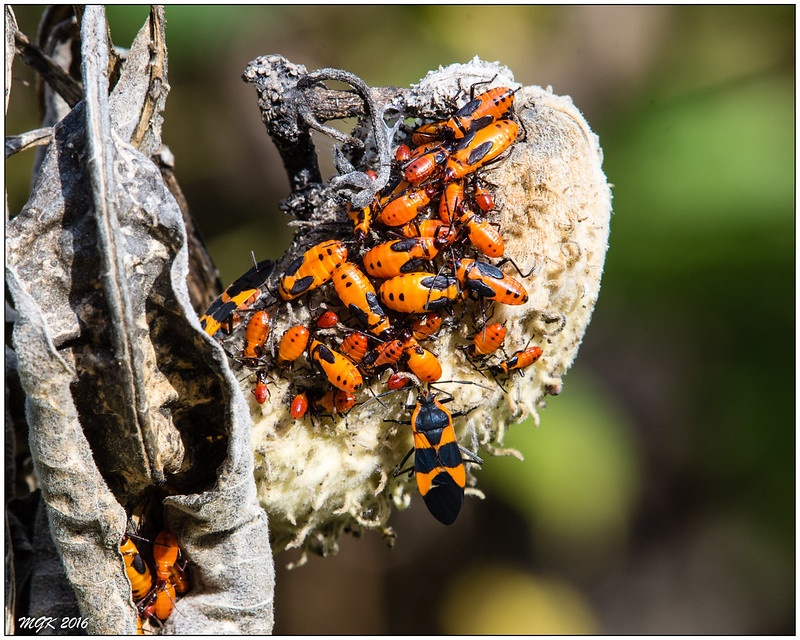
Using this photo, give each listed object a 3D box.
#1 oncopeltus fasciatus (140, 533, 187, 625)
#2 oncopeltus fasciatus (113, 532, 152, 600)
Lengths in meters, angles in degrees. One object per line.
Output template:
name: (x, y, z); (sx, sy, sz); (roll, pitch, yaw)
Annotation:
oncopeltus fasciatus: (-0.833, 0.930, 4.197); (0.211, 0.291, 0.084); (-3, 10, -23)
oncopeltus fasciatus: (-0.927, 0.881, 4.156); (0.077, 0.253, 0.099); (2, 4, 13)
